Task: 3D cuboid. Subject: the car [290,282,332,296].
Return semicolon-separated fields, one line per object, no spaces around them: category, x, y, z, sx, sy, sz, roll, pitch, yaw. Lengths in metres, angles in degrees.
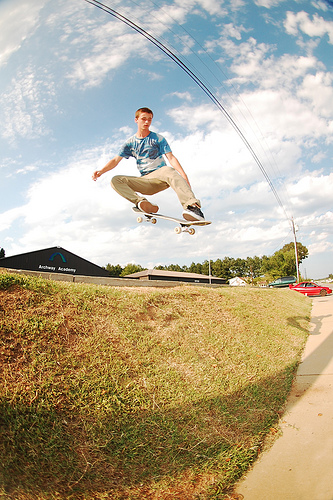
car;12.319;3.371;27.375;3.076;1.088;1.394;-5;-7;28
